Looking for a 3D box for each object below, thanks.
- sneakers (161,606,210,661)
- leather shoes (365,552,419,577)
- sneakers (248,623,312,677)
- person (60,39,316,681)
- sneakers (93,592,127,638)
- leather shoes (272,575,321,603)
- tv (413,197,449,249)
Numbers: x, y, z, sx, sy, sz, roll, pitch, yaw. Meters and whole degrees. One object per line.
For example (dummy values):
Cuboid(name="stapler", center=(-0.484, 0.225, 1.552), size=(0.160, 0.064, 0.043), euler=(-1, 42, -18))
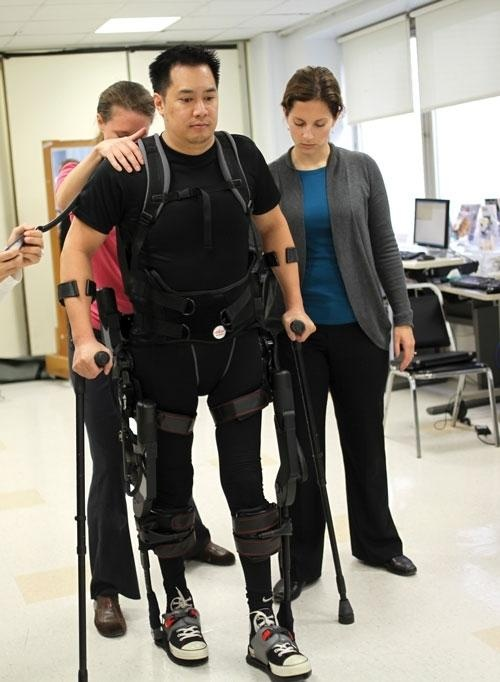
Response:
Cuboid(name="sneakers", center=(-0.165, 0.737, 1.485), size=(0.074, 0.072, 0.187), euler=(-5, 5, -13))
Cuboid(name="leather shoes", center=(0.473, 0.737, 1.969), size=(0.184, 0.069, 0.064), euler=(1, 6, 44))
Cuboid(name="sneakers", center=(0.060, 0.728, 1.380), size=(0.079, 0.087, 0.196), euler=(1, -7, -27))
Cuboid(name="person", center=(-0.109, 0.095, 1.355), size=(0.607, 1.097, 0.393), euler=(-4, 2, -15))
Cuboid(name="sneakers", center=(-0.426, 0.799, 1.705), size=(0.076, 0.091, 0.224), euler=(3, -7, -23))
Cuboid(name="leather shoes", center=(0.148, 0.779, 1.861), size=(0.064, 0.073, 0.193), euler=(-1, 2, 37))
Cuboid(name="tv", center=(1.556, -1.030, 5.012), size=(0.561, 0.403, 0.057), euler=(-8, 12, -44))
